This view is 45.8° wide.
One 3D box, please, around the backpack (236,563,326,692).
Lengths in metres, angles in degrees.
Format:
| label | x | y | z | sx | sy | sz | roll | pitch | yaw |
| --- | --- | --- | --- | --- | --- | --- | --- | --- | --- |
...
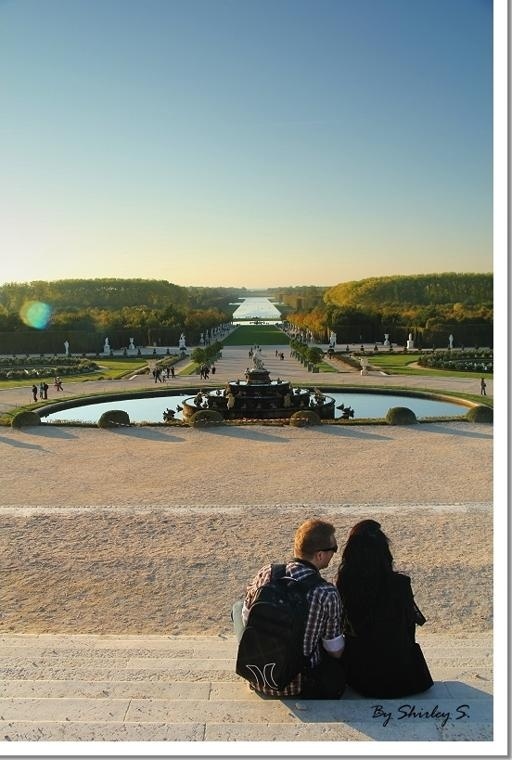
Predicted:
| label | x | y | z | sx | sy | sz | roll | pitch | yaw |
| --- | --- | --- | --- | --- | --- | --- | --- | --- | --- |
| backpack | 0.113 | 1.201 | 2.854 | 0.412 | 0.618 | 0.203 | -1 | 3 | -3 |

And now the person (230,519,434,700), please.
| label | x | y | z | sx | sy | sz | roll | pitch | yaw |
| --- | --- | --- | --- | --- | --- | --- | --- | --- | --- |
| person | 0.397 | 1.193 | 3.229 | 0.754 | 0.711 | 1.034 | -1 | -18 | 8 |

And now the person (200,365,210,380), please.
| label | x | y | z | sx | sy | sz | roll | pitch | yaw |
| --- | --- | --- | --- | --- | --- | --- | --- | --- | --- |
| person | -2.807 | -0.460 | 33.216 | 0.445 | 0.742 | 1.261 | -2 | 3 | -7 |

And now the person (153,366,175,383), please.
| label | x | y | z | sx | sy | sz | roll | pitch | yaw |
| --- | --- | --- | --- | --- | --- | --- | --- | --- | --- |
| person | -5.225 | -0.343 | 34.445 | 1.285 | 1.195 | 0.303 | 3 | -36 | 6 |
